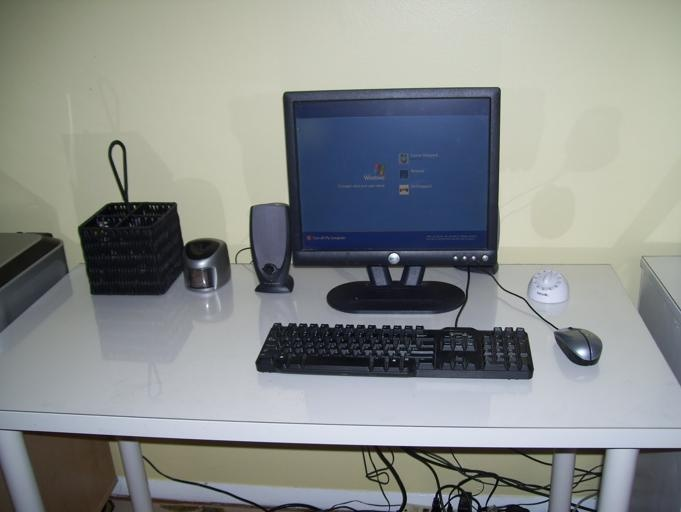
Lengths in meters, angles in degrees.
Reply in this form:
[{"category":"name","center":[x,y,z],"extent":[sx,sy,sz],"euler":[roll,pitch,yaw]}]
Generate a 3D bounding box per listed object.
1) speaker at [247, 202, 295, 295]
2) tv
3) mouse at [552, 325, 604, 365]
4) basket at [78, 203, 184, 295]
[{"category":"speaker","center":[-0.218,-0.037,1.758],"extent":[0.137,0.282,0.138],"euler":[8,18,28]},{"category":"tv","center":[0.146,-0.168,1.576],"extent":[0.564,0.635,0.220],"euler":[0,20,5]},{"category":"mouse","center":[0.613,0.219,1.418],"extent":[0.086,0.053,0.156],"euler":[-3,22,1]},{"category":"basket","center":[-0.684,-0.017,1.824],"extent":[0.343,0.217,0.351],"euler":[8,18,40]}]
